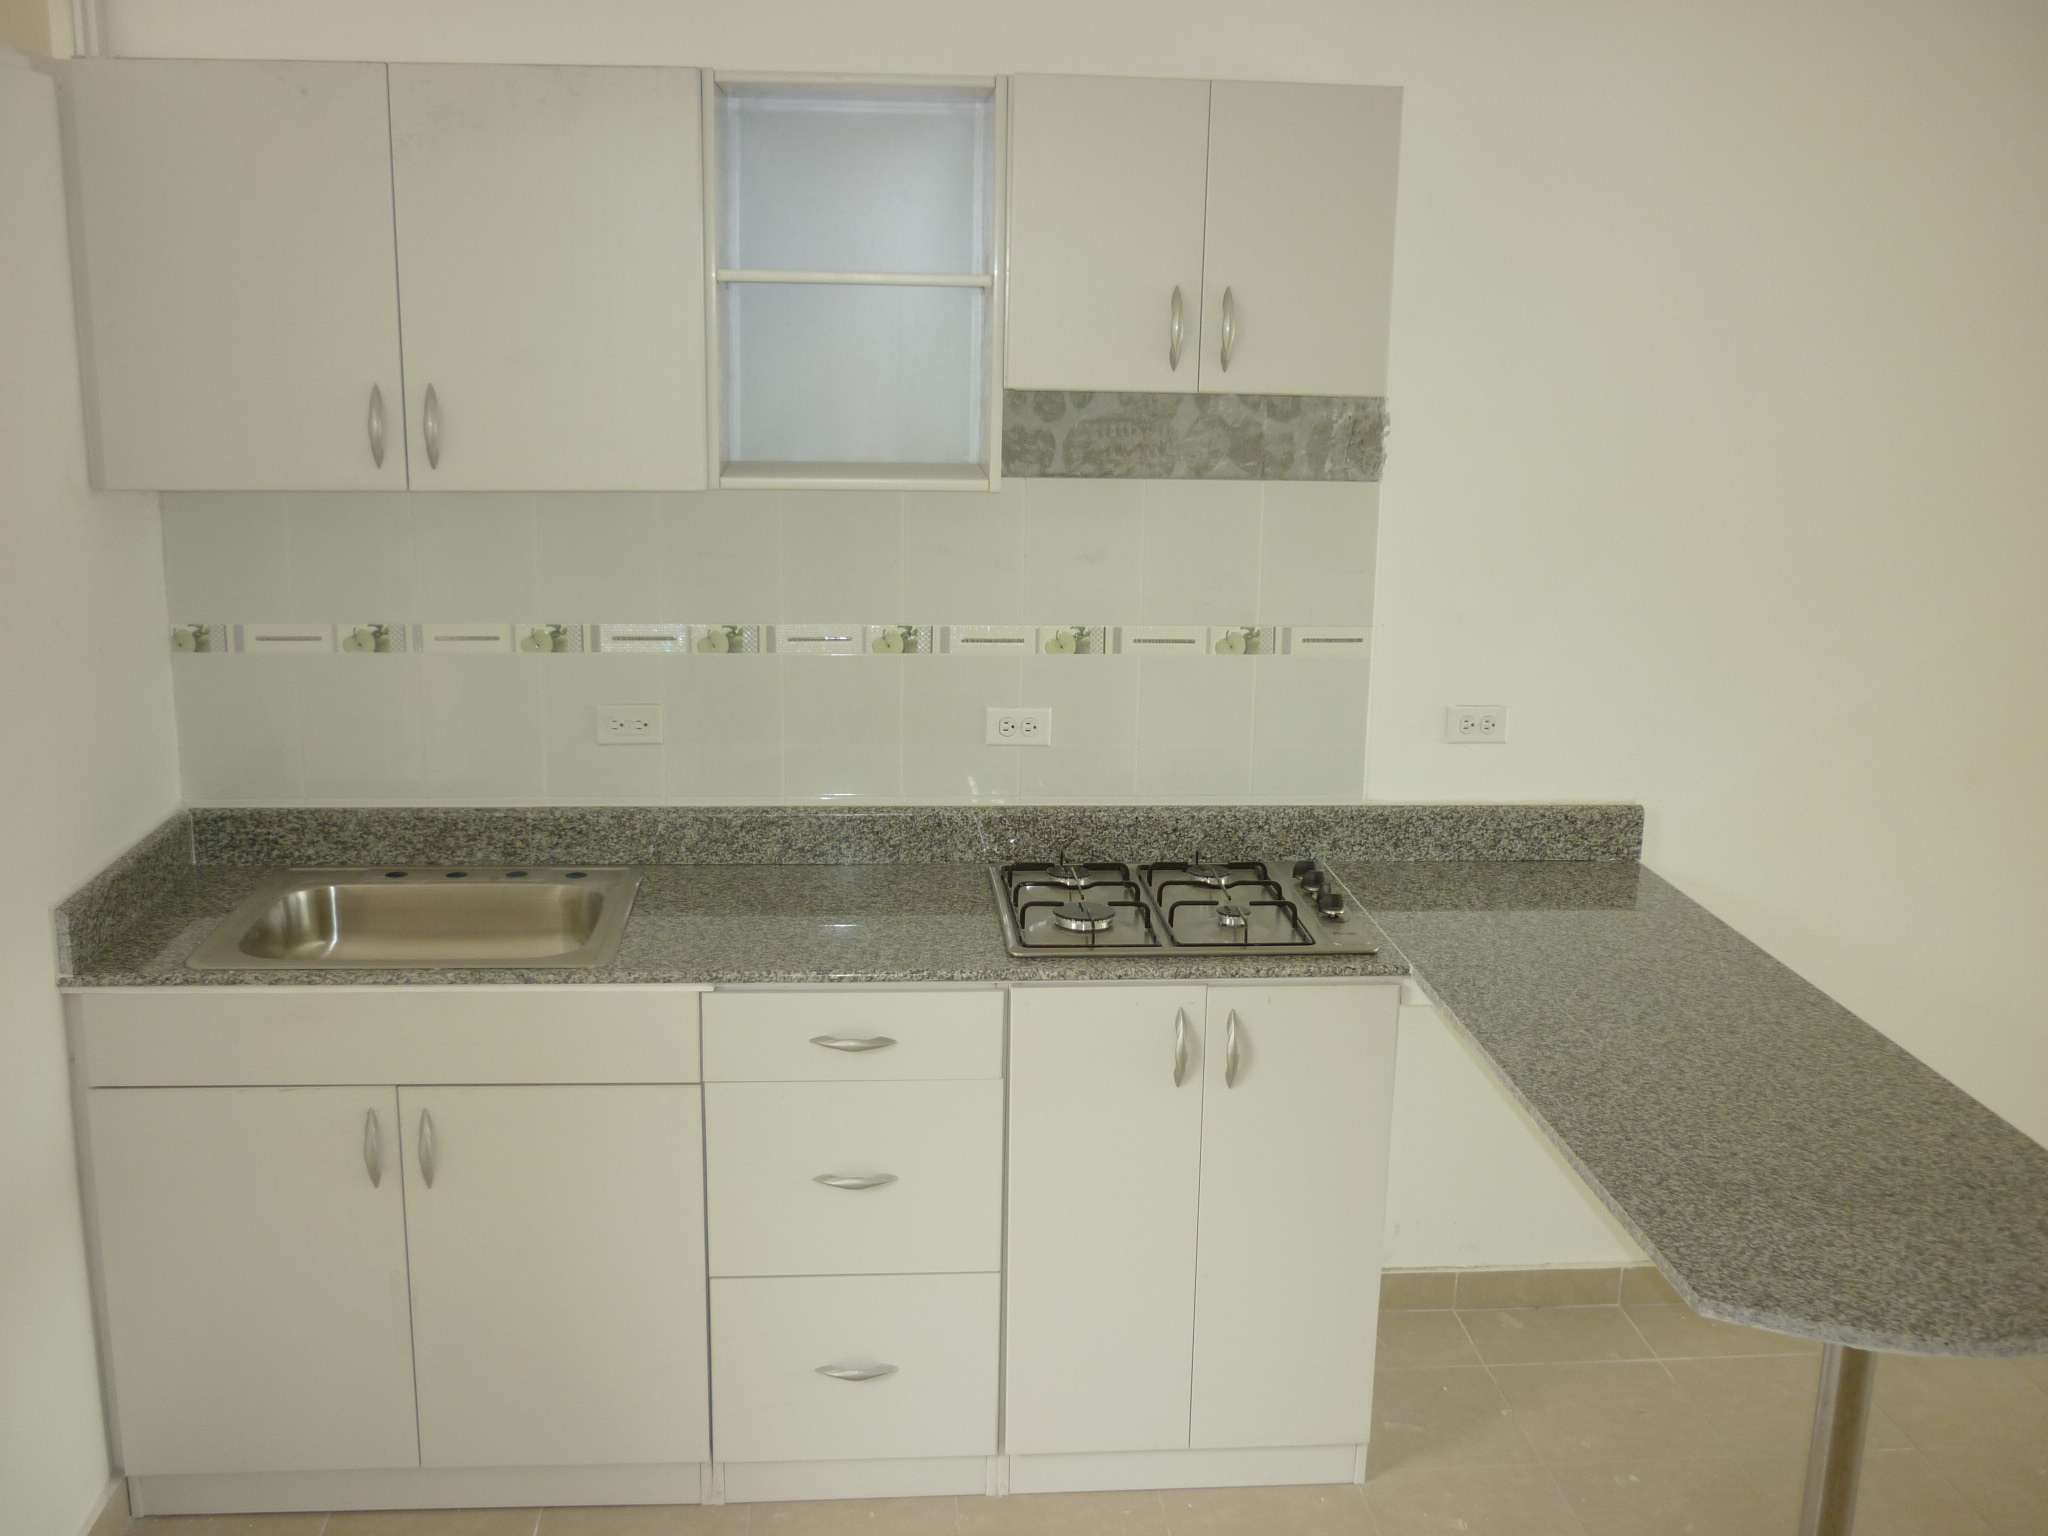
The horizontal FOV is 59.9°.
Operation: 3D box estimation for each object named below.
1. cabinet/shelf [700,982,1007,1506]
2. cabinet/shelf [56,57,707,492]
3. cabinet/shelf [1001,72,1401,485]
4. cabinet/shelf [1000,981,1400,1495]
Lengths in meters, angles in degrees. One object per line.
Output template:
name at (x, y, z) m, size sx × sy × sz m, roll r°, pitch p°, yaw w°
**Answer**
cabinet/shelf at (-0.327, 0.891, 3.437) m, size 0.559 × 0.761 × 0.706 m, roll -2°, pitch -31°, yaw -13°
cabinet/shelf at (-1.204, -0.922, 3.530) m, size 1.207 × 0.814 × 0.412 m, roll -2°, pitch 0°, yaw -6°
cabinet/shelf at (0.354, -1.082, 3.565) m, size 0.721 × 0.300 × 0.661 m, roll 5°, pitch -42°, yaw 7°
cabinet/shelf at (0.316, 0.832, 3.764) m, size 0.779 × 0.618 × 1.142 m, roll 1°, pitch -75°, yaw -2°
